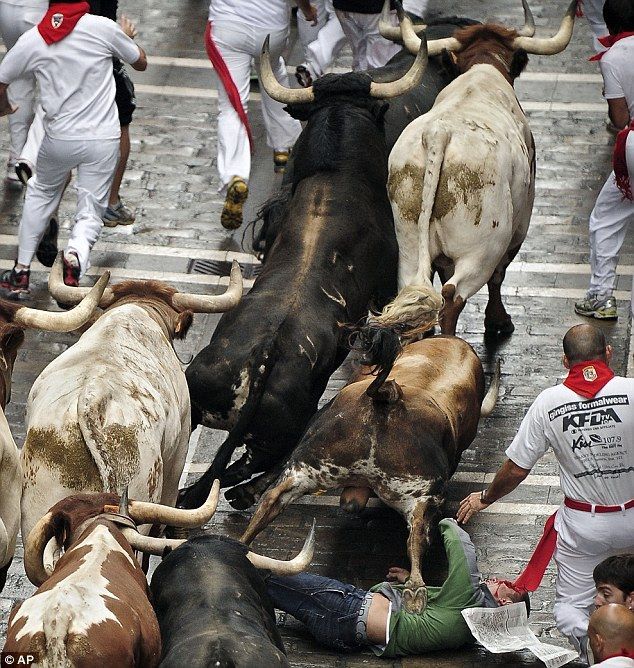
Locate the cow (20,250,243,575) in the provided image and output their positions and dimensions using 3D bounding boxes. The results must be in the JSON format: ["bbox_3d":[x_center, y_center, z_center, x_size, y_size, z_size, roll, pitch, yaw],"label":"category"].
[{"bbox_3d":[-0.828,0.319,5.796,0.897,0.916,1.795,6,34,0],"label":"cow"}]

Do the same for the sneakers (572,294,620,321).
[{"bbox_3d":[2.323,-0.222,9.036,0.412,0.177,0.153,11,20,27],"label":"sneakers"}]

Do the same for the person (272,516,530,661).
[{"bbox_3d":[0.335,1.372,5.604,1.624,0.632,0.468,-2,-30,1],"label":"person"}]

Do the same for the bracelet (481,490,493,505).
[{"bbox_3d":[0.919,0.904,5.951,0.076,0.051,0.069,19,-38,-40],"label":"bracelet"}]

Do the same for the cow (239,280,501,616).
[{"bbox_3d":[0.445,0.556,6.100,0.927,1.309,2.350,25,37,12],"label":"cow"}]
